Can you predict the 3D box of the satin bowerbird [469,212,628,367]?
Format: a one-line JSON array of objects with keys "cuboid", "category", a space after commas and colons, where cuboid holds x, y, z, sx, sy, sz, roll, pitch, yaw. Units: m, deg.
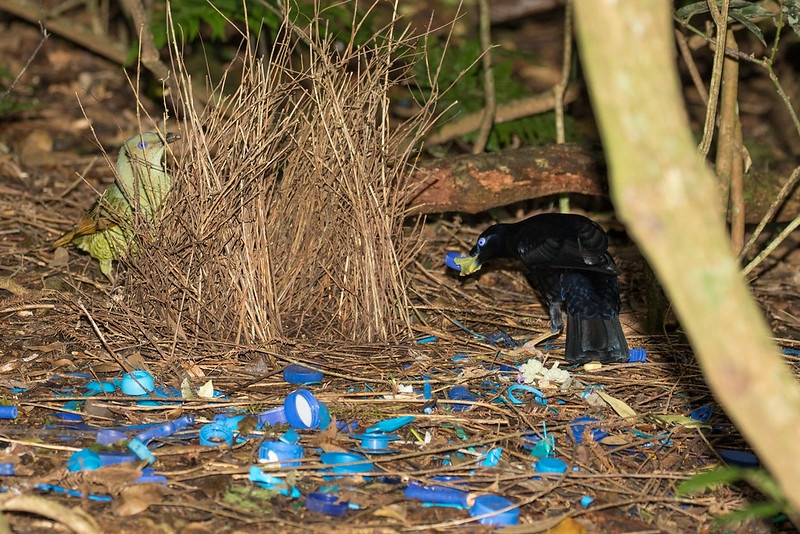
[{"cuboid": [0.781, 0.078, 4.056, 0.547, 0.587, 0.951, -13, 19, -21], "category": "satin bowerbird"}]
